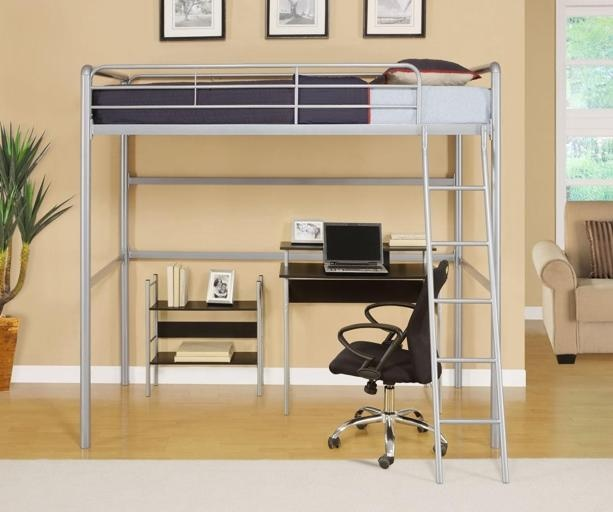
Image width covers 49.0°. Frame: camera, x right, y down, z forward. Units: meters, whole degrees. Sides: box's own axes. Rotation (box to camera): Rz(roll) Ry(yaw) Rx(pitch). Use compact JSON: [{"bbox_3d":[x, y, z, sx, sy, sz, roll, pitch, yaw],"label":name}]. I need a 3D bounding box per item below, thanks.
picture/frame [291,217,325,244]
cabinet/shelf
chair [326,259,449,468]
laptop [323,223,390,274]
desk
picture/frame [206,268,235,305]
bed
[{"bbox_3d":[0.005,-0.176,4.862,0.189,0.137,0.014,0,-10,-1],"label":"picture/frame"},{"bbox_3d":[-0.751,0.580,4.898,0.872,0.844,0.384,0,-2,-1],"label":"cabinet/shelf"},{"bbox_3d":[0.389,0.601,4.570,1.028,1.630,1.056,2,2,9],"label":"chair"},{"bbox_3d":[0.317,-0.071,4.697,0.470,0.316,0.340,0,5,-2],"label":"laptop"},{"bbox_3d":[0.283,0.291,4.923,1.585,1.516,1.003,0,0,-1],"label":"desk"},{"bbox_3d":[-0.627,0.229,4.887,0.265,0.332,0.036,0,-19,0],"label":"picture/frame"},{"bbox_3d":[-0.072,-0.048,4.504,2.526,2.475,1.527,0,-1,0],"label":"bed"}]
